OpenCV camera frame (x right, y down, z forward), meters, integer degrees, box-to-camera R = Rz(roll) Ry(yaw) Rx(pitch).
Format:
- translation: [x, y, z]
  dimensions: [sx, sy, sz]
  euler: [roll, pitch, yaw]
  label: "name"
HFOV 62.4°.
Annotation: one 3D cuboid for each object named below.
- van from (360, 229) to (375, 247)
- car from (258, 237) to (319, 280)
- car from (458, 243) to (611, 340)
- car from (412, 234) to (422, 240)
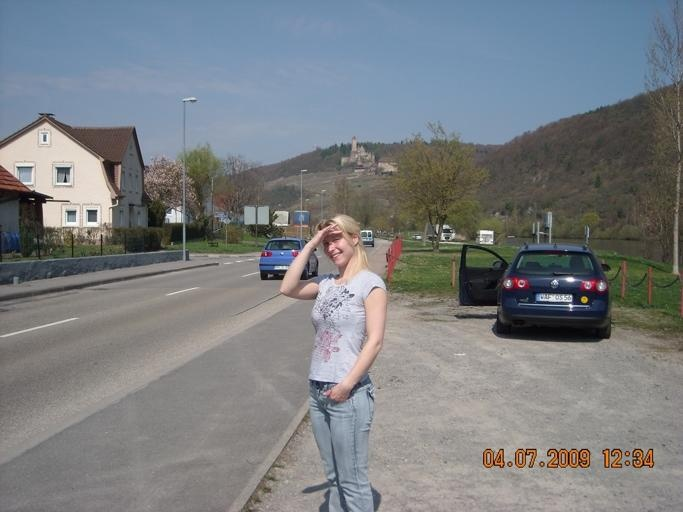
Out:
- translation: [3.053, -2.002, 64.235]
  dimensions: [1.641, 1.776, 3.212]
  euler: [-1, -1, 4]
  label: "van"
- translation: [-2.526, 0.396, 24.395]
  dimensions: [1.824, 1.765, 3.381]
  euler: [-1, 5, 11]
  label: "car"
- translation: [4.023, 0.591, 11.714]
  dimensions: [1.810, 1.037, 2.682]
  euler: [1, 7, 11]
  label: "car"
- translation: [17.510, -4.415, 127.369]
  dimensions: [1.560, 1.391, 2.783]
  euler: [0, 0, 1]
  label: "car"
